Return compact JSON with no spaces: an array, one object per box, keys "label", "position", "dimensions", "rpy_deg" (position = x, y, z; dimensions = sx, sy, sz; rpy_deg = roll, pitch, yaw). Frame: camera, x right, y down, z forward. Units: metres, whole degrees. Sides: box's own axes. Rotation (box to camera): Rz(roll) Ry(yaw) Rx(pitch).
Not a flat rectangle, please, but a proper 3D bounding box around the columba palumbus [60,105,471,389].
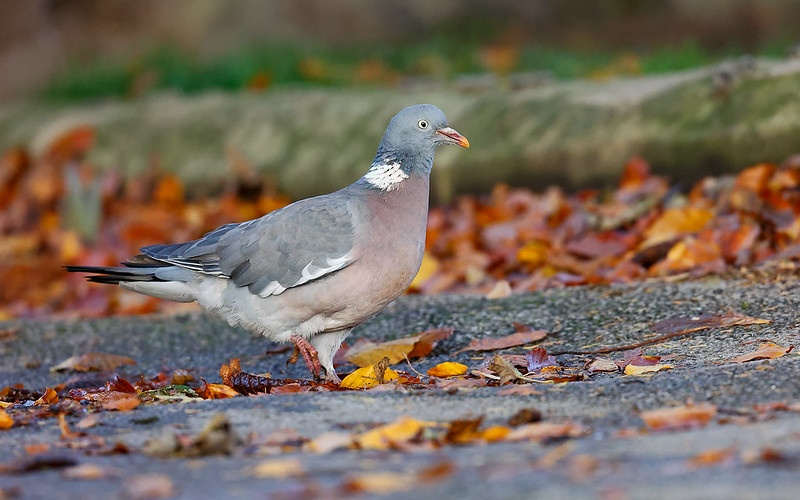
[{"label":"columba palumbus","position":[-0.850,-0.043,7.559],"dimensions":[2.891,0.872,1.697],"rpy_deg":[2,90,27]}]
